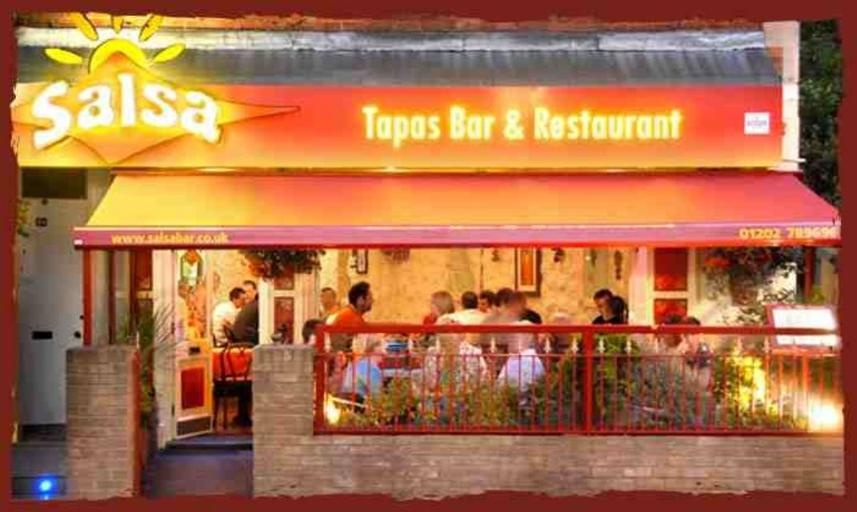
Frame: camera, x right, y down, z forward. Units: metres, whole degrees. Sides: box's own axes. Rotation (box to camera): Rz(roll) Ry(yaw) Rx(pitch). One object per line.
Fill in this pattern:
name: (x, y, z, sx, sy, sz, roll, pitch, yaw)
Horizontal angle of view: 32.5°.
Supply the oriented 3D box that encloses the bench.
bench: (5.832, 1.282, 22.250, 1.264, 1.155, 0.299, -2, -11, -1)
